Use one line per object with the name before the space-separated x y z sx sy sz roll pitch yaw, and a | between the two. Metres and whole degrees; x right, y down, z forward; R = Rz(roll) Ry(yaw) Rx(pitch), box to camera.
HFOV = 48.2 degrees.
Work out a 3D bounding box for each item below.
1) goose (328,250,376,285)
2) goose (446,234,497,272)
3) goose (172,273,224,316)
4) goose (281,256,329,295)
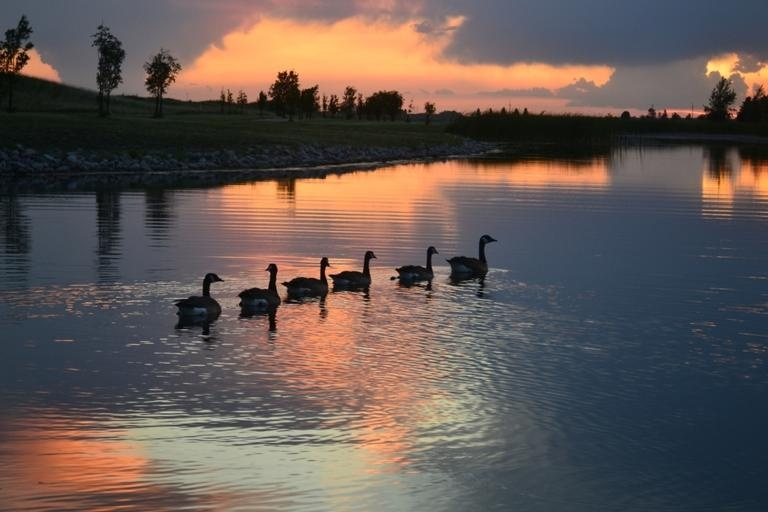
goose | -0.987 0.486 27.914 1.803 1.255 0.645 0 2 -36
goose | 3.245 -0.072 30.372 1.259 1.220 2.299 2 4 27
goose | -5.128 1.103 24.598 1.110 1.085 2.220 0 3 -5
goose | -2.337 0.710 26.992 1.813 1.257 0.648 -1 2 -38
